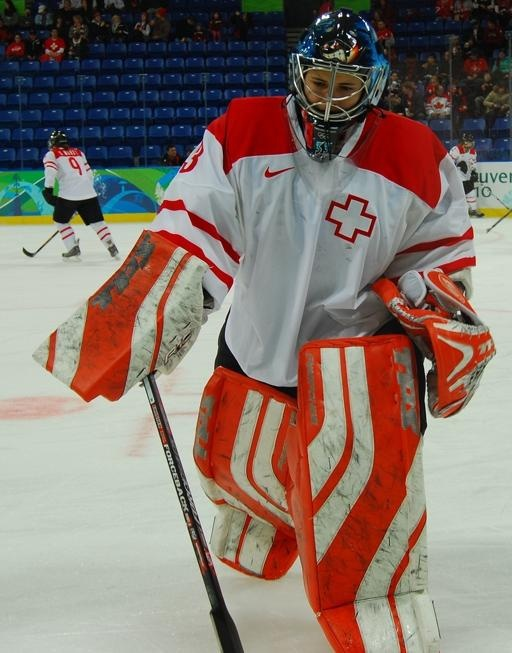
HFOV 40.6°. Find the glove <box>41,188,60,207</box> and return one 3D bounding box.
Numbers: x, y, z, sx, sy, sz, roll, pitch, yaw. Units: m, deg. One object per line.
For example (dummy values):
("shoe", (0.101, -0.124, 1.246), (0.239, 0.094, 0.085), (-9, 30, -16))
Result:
("glove", (-2.146, -1.369, 7.255), (0.217, 0.177, 0.123), (15, 32, 34))

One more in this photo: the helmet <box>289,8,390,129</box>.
("helmet", (0.154, -0.457, 1.249), (0.200, 0.174, 0.212), (14, 41, 8))
